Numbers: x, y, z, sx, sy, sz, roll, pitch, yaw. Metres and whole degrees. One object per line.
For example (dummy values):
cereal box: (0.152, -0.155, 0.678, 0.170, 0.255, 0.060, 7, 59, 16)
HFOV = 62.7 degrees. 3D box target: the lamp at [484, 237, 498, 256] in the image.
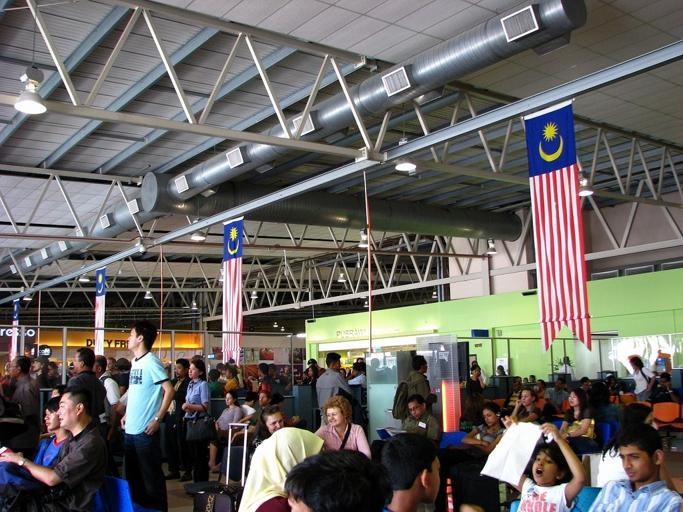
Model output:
lamp: (4.301, -0.265, 16.281, 0.559, 0.403, 0.399, 3, -22, -8)

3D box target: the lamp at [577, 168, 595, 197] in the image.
lamp: (4.470, -1.370, 10.352, 0.212, 0.588, 0.588, -8, -13, 23)

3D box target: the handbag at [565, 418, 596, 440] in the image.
handbag: (2.666, 1.945, 6.301, 0.449, 0.162, 0.280, 1, -11, -2)
